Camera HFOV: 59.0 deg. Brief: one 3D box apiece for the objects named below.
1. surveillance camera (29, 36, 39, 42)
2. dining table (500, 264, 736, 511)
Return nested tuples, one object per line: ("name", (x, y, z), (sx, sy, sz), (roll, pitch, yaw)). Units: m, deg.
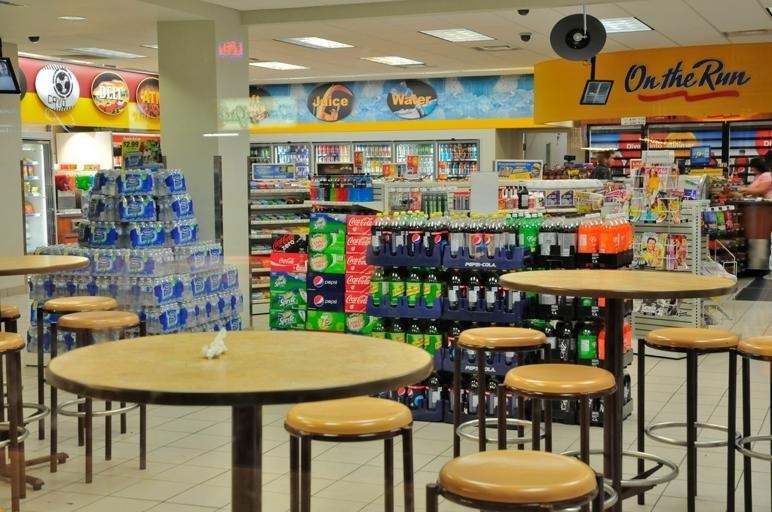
("surveillance camera", (-5.590, -3.453, 10.823), (0.137, 0.044, 0.090), (-1, -3, -12))
("dining table", (1.095, 0.841, 4.865), (1.737, 1.720, 1.631), (0, 1, 0))
